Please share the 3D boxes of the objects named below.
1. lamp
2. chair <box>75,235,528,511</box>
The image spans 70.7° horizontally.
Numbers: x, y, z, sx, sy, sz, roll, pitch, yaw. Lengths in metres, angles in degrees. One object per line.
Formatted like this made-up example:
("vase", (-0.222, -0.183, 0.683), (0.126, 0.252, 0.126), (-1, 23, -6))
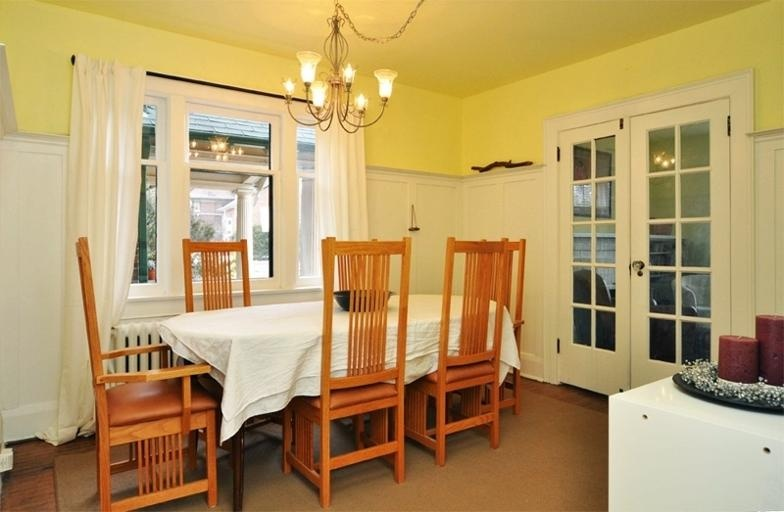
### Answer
("lamp", (-0.415, -1.623, 5.017), (1.091, 1.016, 1.756), (-1, 2, -11))
("chair", (-0.946, 0.785, 4.058), (2.338, 1.845, 1.082), (-1, 3, -20))
